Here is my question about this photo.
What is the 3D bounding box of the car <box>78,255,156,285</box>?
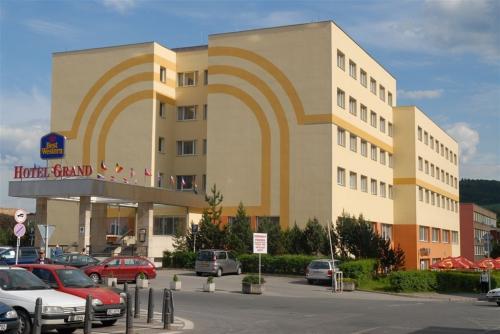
[{"bbox_3d":[-9.601,7.869,53.841,5.264,1.958,2.017,3,-5,-28],"label":"car"}]

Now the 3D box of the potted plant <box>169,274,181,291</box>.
[{"bbox_3d":[-5.304,8.423,51.967,0.818,1.114,1.109,2,-14,-9],"label":"potted plant"}]

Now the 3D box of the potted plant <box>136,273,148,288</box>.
[{"bbox_3d":[-7.789,8.324,52.318,0.814,1.125,0.930,2,-13,-10],"label":"potted plant"}]

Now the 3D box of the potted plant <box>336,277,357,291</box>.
[{"bbox_3d":[7.607,9.165,55.814,0.948,1.002,0.726,-4,-7,22],"label":"potted plant"}]

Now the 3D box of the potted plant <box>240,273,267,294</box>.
[{"bbox_3d":[0.282,8.493,52.138,1.254,1.110,1.406,-1,-6,13],"label":"potted plant"}]

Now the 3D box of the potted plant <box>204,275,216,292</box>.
[{"bbox_3d":[-2.900,8.510,51.862,0.742,1.133,0.633,1,-13,-5],"label":"potted plant"}]
